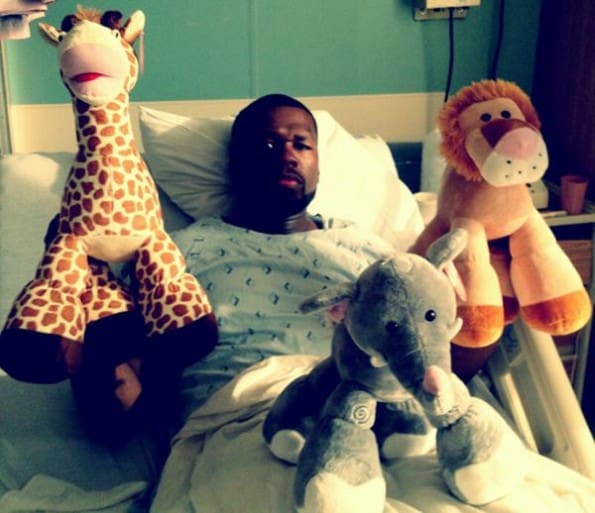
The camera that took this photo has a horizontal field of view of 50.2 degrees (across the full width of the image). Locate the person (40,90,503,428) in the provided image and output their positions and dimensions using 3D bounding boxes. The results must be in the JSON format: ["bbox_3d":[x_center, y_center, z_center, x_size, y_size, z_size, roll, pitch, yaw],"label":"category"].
[{"bbox_3d":[-0.061,-0.010,1.587,0.978,0.767,0.493,0,2,-17],"label":"person"}]
